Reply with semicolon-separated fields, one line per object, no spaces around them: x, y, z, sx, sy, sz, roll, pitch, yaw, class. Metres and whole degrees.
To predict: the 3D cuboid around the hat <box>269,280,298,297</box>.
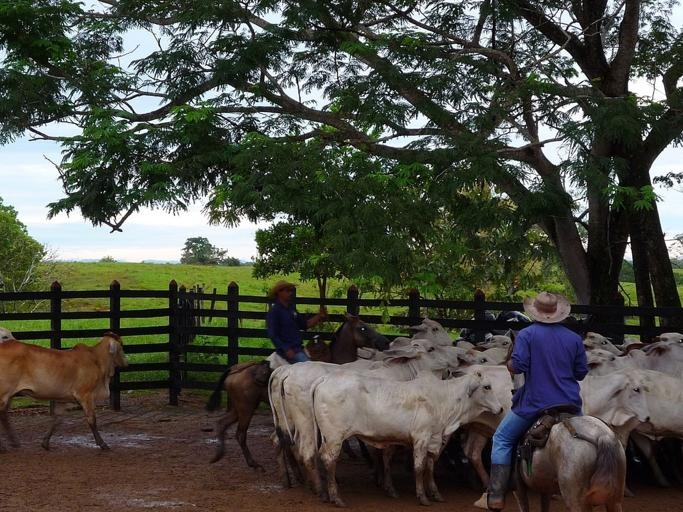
-0.921;0.493;10.327;0.364;0.207;0.425;2;-1;-9;hat

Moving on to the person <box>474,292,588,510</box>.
2.185;1.673;7.457;1.016;2.553;0.391;2;-1;15;person
